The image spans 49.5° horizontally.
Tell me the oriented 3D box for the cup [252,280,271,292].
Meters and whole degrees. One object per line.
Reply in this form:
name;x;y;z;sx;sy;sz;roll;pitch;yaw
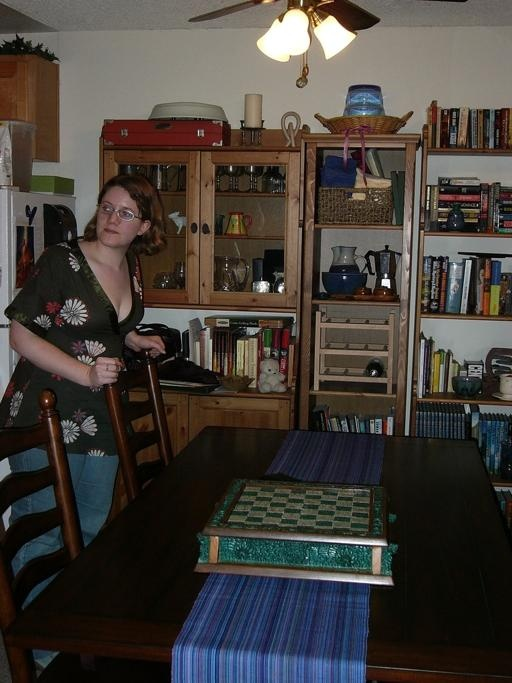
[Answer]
cup;0.028;-0.285;2.875;0.070;0.048;0.069;0;0;0

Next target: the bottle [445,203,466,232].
bottle;0.986;-0.610;2.730;0.085;0.141;0.062;2;3;10

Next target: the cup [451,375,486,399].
cup;1.069;0.230;2.785;0.120;0.084;0.120;1;-5;0

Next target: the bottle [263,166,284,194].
bottle;0.088;-0.820;2.804;0.107;0.130;0.028;2;3;3

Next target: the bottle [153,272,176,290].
bottle;-0.475;-0.320;2.921;0.099;0.071;0.097;1;4;0

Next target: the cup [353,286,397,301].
cup;0.608;-0.242;2.837;0.221;0.074;0.127;3;4;13

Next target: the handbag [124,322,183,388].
handbag;-0.516;0.034;2.830;0.244;0.115;0.317;-1;22;4

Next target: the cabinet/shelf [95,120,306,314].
cabinet/shelf;-0.230;-0.607;2.623;1.054;0.974;0.368;1;6;4

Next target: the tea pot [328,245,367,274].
tea pot;0.472;-0.429;2.896;0.176;0.164;0.118;0;-1;-3

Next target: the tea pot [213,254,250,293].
tea pot;-0.132;-0.353;2.886;0.208;0.192;0.140;1;5;-1

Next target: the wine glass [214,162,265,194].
wine glass;-0.082;-0.829;2.827;0.251;0.132;0.171;2;4;2

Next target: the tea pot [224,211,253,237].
tea pot;-0.088;-0.620;2.902;0.140;0.117;0.095;2;9;2
